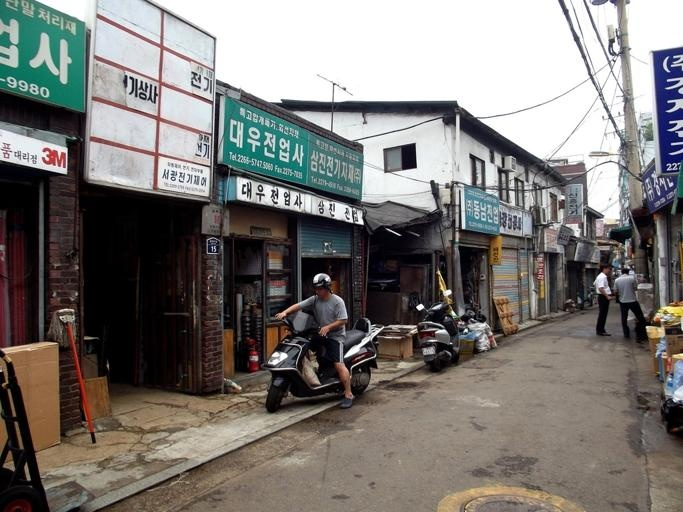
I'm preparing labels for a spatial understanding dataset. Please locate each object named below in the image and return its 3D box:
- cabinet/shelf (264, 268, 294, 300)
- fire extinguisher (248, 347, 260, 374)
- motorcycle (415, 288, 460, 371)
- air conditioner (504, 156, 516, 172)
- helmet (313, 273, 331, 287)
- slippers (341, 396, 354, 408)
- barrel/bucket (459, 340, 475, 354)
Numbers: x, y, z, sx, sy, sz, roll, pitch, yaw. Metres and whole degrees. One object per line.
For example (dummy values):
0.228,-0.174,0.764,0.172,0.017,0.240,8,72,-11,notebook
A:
-1.268,0.576,11.028,0.442,0.649,0.622,-1,-2,24,cabinet/shelf
-1.661,1.974,10.379,0.217,0.428,0.171,-2,6,-11,fire extinguisher
2.078,1.740,11.586,0.524,1.192,1.570,-1,-3,22,motorcycle
6.056,-3.138,19.630,0.407,0.720,0.812,-1,-6,24,air conditioner
-0.314,0.391,8.786,0.263,0.213,0.387,-1,6,-4,helmet
0.085,2.299,8.741,0.207,0.167,0.443,-1,6,-1,slippers
2.950,2.133,12.833,0.306,0.348,0.338,0,2,8,barrel/bucket
